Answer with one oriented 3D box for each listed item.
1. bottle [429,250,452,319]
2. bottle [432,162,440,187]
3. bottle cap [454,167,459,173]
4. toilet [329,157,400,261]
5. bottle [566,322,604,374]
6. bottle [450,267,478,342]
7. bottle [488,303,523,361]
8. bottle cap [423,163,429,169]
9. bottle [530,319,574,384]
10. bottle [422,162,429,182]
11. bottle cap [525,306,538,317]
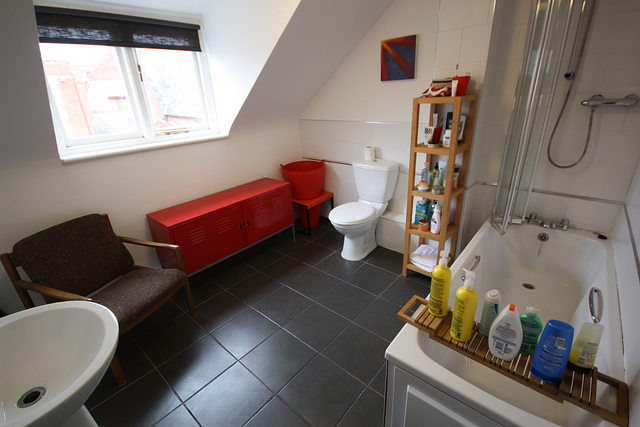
[{"bbox_3d":[0.711,0.412,2.273,0.122,0.405,0.139,-3,20,-1],"label":"bottle"},{"bbox_3d":[1.025,-0.340,3.396,0.055,0.161,0.266,4,21,16],"label":"bottle"},{"bbox_3d":[1.180,-0.371,3.329,0.053,0.046,0.013,-13,23,-27],"label":"bottle cap"},{"bbox_3d":[0.416,-0.032,3.896,0.487,0.884,0.796,18,30,40],"label":"toilet"},{"bbox_3d":[1.401,0.702,2.039,0.121,0.299,0.120,1,21,-1],"label":"bottle"},{"bbox_3d":[0.807,0.551,2.157,0.117,0.355,0.090,2,21,11],"label":"bottle"},{"bbox_3d":[1.009,0.634,2.080,0.167,0.324,0.090,7,22,25],"label":"bottle"},{"bbox_3d":[0.958,-0.419,3.479,0.050,0.037,0.048,-25,36,-34],"label":"bottle cap"},{"bbox_3d":[1.234,0.737,2.039,0.154,0.323,0.115,17,19,31],"label":"bottle"},{"bbox_3d":[0.947,-0.358,3.436,0.060,0.155,0.159,3,21,15],"label":"bottle"},{"bbox_3d":[1.140,0.521,2.076,0.054,0.039,0.054,-33,27,-30],"label":"bottle cap"}]
